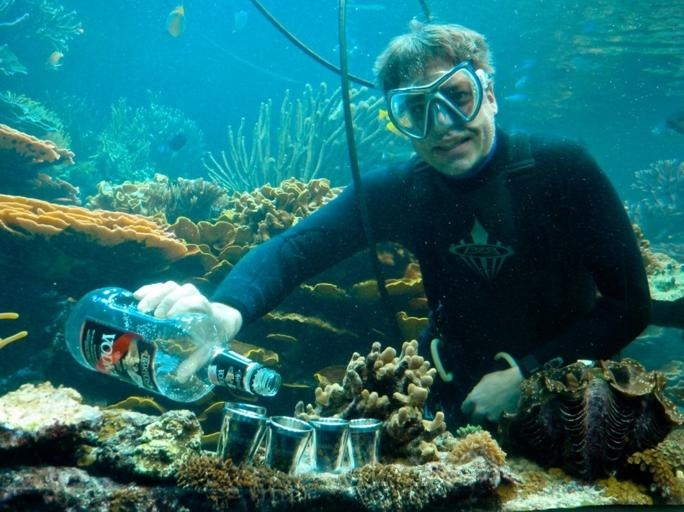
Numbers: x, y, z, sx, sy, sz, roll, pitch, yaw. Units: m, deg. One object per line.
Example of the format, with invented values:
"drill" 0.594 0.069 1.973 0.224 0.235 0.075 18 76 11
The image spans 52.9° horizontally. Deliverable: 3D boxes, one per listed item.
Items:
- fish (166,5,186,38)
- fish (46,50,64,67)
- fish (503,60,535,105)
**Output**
"fish" -1.567 -2.200 6.496 0.127 0.127 0.431 4 40 -8
"fish" -2.850 -1.954 6.868 0.151 0.204 0.175 0 2 -33
"fish" 1.328 -1.270 5.163 0.154 0.110 0.523 16 -3 13
